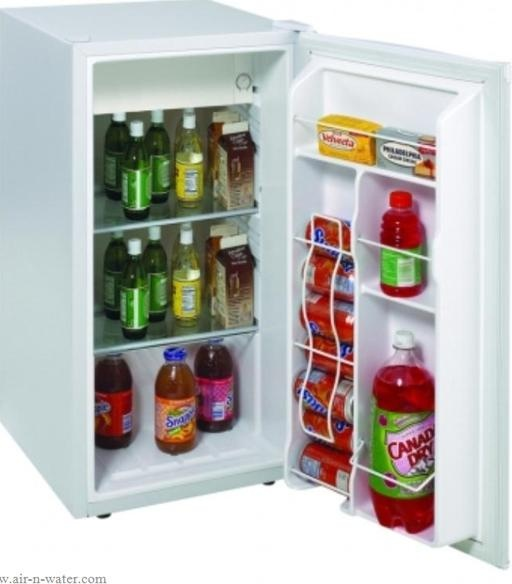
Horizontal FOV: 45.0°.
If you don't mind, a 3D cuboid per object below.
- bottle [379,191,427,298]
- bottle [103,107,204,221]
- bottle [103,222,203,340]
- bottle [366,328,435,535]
[{"bbox_3d":[0.303,-0.097,1.274,0.098,0.215,0.202,1,6,12],"label":"bottle"},{"bbox_3d":[-0.271,-0.326,1.742,0.324,0.336,0.270,12,15,41],"label":"bottle"},{"bbox_3d":[-0.297,-0.023,1.728,0.260,0.298,0.087,-12,22,-33],"label":"bottle"},{"bbox_3d":[0.315,0.301,1.327,0.139,0.443,0.227,1,5,10],"label":"bottle"}]
